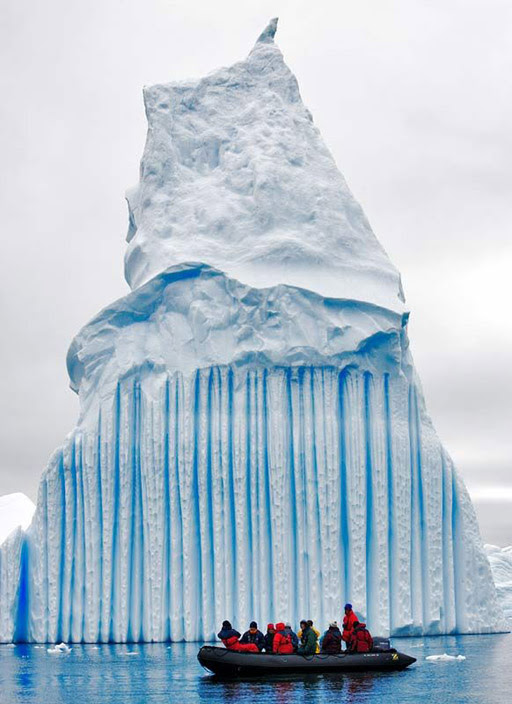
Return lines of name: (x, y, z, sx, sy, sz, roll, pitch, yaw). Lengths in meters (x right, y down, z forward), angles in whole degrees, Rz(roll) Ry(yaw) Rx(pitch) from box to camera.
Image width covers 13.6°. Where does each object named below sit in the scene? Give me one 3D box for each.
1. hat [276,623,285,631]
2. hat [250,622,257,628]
hat: (0.751, 8.356, 65.276, 0.190, 0.237, 0.196, -3, -4, 40)
hat: (-0.069, 8.261, 65.158, 0.176, 0.262, 0.337, 2, -19, -5)
